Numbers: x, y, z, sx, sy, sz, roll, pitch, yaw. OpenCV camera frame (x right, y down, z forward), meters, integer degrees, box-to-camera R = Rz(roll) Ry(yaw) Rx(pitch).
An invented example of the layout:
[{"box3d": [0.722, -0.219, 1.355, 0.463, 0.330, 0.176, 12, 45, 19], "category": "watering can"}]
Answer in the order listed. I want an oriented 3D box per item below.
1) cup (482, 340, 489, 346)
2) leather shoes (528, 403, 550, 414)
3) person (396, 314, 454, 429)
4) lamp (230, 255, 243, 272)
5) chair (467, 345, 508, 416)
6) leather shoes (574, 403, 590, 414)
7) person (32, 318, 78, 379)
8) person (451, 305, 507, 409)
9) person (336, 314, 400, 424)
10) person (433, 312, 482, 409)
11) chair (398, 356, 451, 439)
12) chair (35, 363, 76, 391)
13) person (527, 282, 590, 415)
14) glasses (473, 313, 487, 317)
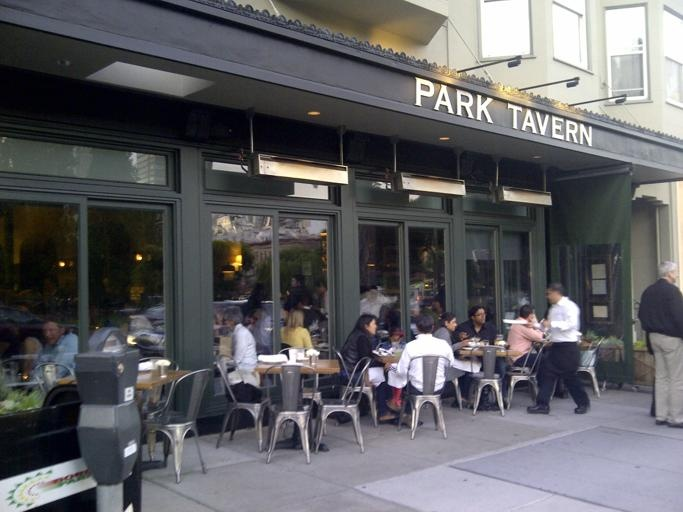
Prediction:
[{"box3d": [2.184, 1.304, 9.646, 0.067, 0.071, 0.117, 1, -6, -13], "category": "cup"}, {"box3d": [2.885, 2.221, 9.328, 0.289, 0.144, 0.139, 3, -3, 8], "category": "leather shoes"}, {"box3d": [1.182, 1.478, 8.614, 0.715, 1.523, 0.818, -5, 13, 5], "category": "person"}, {"box3d": [-1.405, 0.109, 8.714, 0.176, 0.296, 0.181, 0, 1, 12], "category": "lamp"}, {"box3d": [2.162, 1.789, 9.380, 0.473, 1.035, 0.627, 0, 2, 14], "category": "chair"}, {"box3d": [3.499, 2.223, 9.266, 0.194, 0.126, 0.111, 8, -10, -30], "category": "leather shoes"}, {"box3d": [-3.318, 1.212, 7.547, 0.488, 0.901, 0.368, 4, 13, -30], "category": "person"}, {"box3d": [2.249, 1.447, 9.883, 0.654, 1.366, 0.813, -12, 1, -37], "category": "person"}, {"box3d": [0.416, 1.413, 8.619, 0.763, 1.284, 0.492, -6, 3, 0], "category": "person"}, {"box3d": [1.790, 1.563, 9.696, 0.759, 1.355, 0.570, -4, 2, 0], "category": "person"}, {"box3d": [1.069, 1.788, 8.399, 0.642, 1.090, 0.777, 0, 2, 4], "category": "chair"}, {"box3d": [-3.205, 1.302, 7.125, 0.395, 0.312, 0.521, -1, 2, -28], "category": "chair"}, {"box3d": [3.259, 1.338, 9.515, 0.841, 1.851, 0.960, 0, 2, 23], "category": "person"}, {"box3d": [2.149, 0.932, 9.984, 0.148, 0.049, 0.147, -3, -15, -27], "category": "glasses"}]
